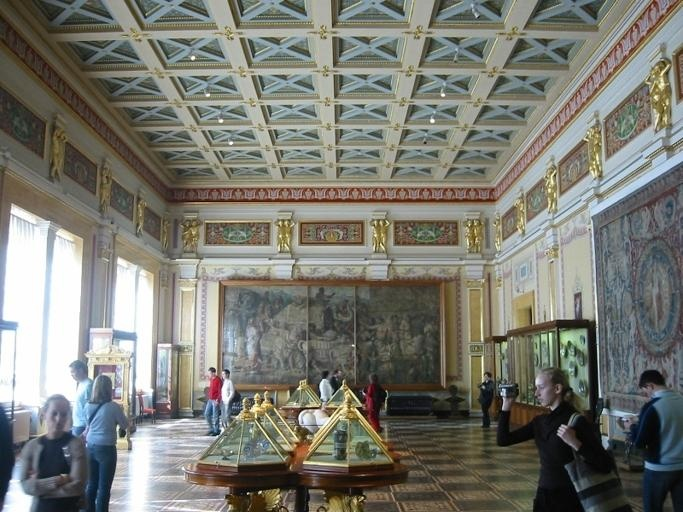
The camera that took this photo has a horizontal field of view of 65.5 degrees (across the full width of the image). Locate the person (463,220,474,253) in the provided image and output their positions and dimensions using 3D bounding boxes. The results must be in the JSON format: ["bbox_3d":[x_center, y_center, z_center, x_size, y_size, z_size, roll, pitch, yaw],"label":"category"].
[{"bbox_3d":[5.496,-0.834,22.787,0.447,1.408,0.211,-2,-10,12],"label":"person"}]

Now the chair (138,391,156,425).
[{"bbox_3d":[-7.212,5.572,19.601,0.595,1.091,2.390,4,-12,-20],"label":"chair"}]

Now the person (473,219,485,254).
[{"bbox_3d":[5.936,-0.843,22.815,0.503,1.437,0.157,2,-10,-12],"label":"person"}]

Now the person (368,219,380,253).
[{"bbox_3d":[1.581,-0.861,22.841,0.690,1.529,0.233,-1,-10,5],"label":"person"}]

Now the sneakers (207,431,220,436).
[{"bbox_3d":[-3.827,5.319,15.884,0.427,0.190,0.148,-13,-18,36],"label":"sneakers"}]

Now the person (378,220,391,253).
[{"bbox_3d":[1.868,-0.830,22.848,0.429,1.408,0.227,2,-10,-9],"label":"person"}]

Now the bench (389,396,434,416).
[{"bbox_3d":[2.744,6.056,21.427,1.803,0.760,0.396,1,-10,-3],"label":"bench"}]

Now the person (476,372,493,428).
[{"bbox_3d":[5.046,5.009,18.545,0.484,1.833,0.949,-2,-10,13],"label":"person"}]

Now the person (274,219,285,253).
[{"bbox_3d":[-2.542,-0.842,22.880,0.575,1.444,0.281,0,-10,1],"label":"person"}]
